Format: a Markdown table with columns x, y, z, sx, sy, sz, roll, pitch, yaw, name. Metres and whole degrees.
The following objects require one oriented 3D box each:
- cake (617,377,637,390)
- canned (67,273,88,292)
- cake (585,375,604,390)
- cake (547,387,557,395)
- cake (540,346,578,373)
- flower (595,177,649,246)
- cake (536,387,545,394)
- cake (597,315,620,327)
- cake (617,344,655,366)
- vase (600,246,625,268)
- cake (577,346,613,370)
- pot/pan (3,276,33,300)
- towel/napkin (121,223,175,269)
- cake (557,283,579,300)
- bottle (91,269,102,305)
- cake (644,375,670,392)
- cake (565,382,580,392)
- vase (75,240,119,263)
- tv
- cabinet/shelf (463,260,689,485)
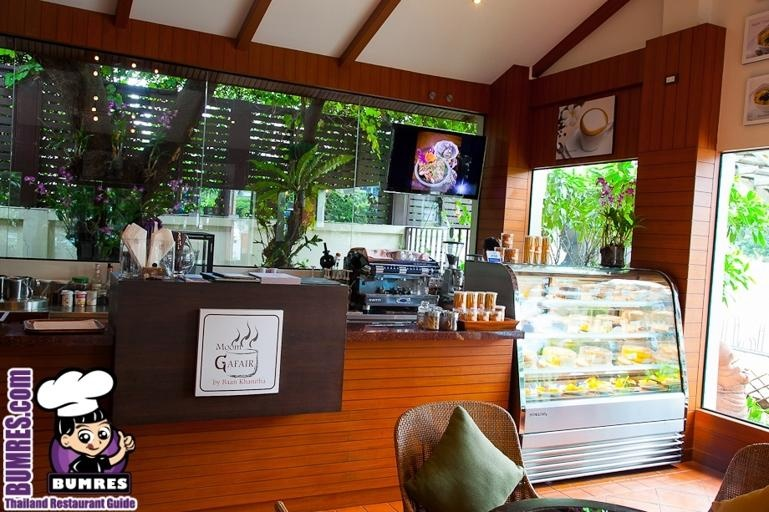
| x | y | z | sx | sy | sz | roll | pitch | yaw | name |
| --- | --- | --- | --- | --- | --- | --- | --- | --- | --- |
| 2.384 | 1.248 | 4.954 | 0.151 | 0.049 | 0.117 | -1 | 1 | -32 | cake |
| -3.243 | 0.277 | 5.284 | 0.160 | 0.154 | 0.166 | 7 | 5 | 41 | canned |
| 2.041 | 1.241 | 4.856 | 0.165 | 0.124 | 0.071 | 2 | 3 | -21 | cake |
| 1.579 | 1.268 | 4.698 | 0.069 | 0.025 | 0.061 | -1 | 5 | -10 | cake |
| 1.665 | 0.963 | 4.762 | 0.378 | 0.160 | 0.054 | 2 | 2 | -19 | cake |
| 2.705 | -0.427 | 5.819 | 0.600 | 0.788 | 0.472 | 5 | 9 | -15 | flower |
| 1.462 | 1.259 | 4.668 | 0.065 | 0.015 | 0.064 | -3 | 5 | -24 | cake |
| 2.226 | 0.641 | 4.947 | 0.139 | 0.082 | 0.141 | 1 | 1 | 21 | cake |
| 2.518 | 0.994 | 5.007 | 0.249 | 0.110 | 0.245 | -2 | 4 | -18 | cake |
| 2.461 | 0.016 | 5.404 | 0.233 | 0.201 | 0.225 | -2 | -2 | 30 | vase |
| 2.044 | 0.978 | 4.881 | 0.252 | 0.114 | 0.258 | 1 | 1 | 39 | cake |
| -3.610 | 0.326 | 4.913 | 0.164 | 0.271 | 0.274 | -4 | -8 | 34 | pot/pan |
| -1.636 | -0.066 | 3.460 | 0.330 | 0.302 | 0.126 | 1 | 2 | -27 | towel/napkin |
| 1.769 | 0.353 | 4.813 | 0.166 | 0.156 | 0.154 | -1 | -4 | -41 | cake |
| -3.063 | 0.306 | 5.305 | 0.093 | 0.380 | 0.351 | 1 | 2 | -30 | bottle |
| 2.742 | 1.260 | 5.044 | 0.205 | 0.065 | 0.178 | -1 | 3 | -26 | cake |
| 1.785 | 1.250 | 4.762 | 0.128 | 0.089 | 0.044 | 12 | 3 | -39 | cake |
| -3.160 | -0.051 | 5.484 | 0.413 | 0.234 | 0.080 | 2 | 2 | -17 | vase |
| 0.643 | -1.211 | 6.415 | 1.278 | 0.841 | 0.121 | 3 | 9 | -18 | tv |
| 1.949 | 1.240 | 5.317 | 2.267 | 2.093 | 1.105 | 7 | -10 | -23 | cabinet/shelf |
